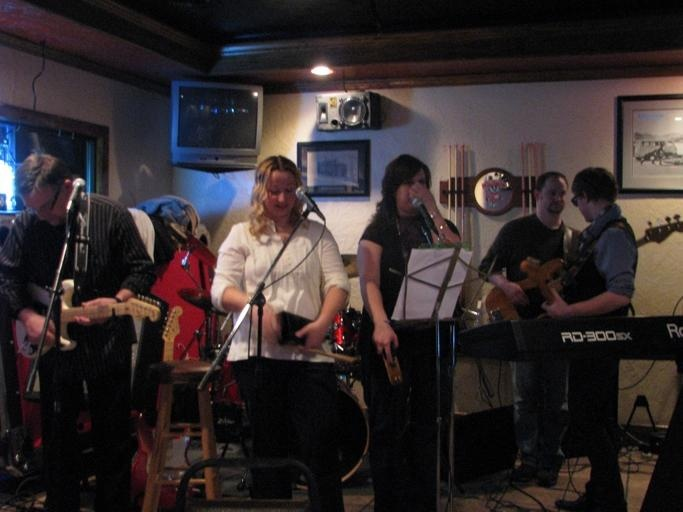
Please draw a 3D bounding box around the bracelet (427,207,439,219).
[{"bbox_3d":[0.479,-0.221,3.160,0.038,0.033,0.090,24,22,-34],"label":"bracelet"}]

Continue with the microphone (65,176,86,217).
[{"bbox_3d":[-1.339,-0.327,3.123,0.066,0.261,0.070,7,-35,-5],"label":"microphone"}]

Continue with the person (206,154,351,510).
[{"bbox_3d":[-0.288,0.376,3.056,0.713,1.802,0.462,1,-1,-13],"label":"person"}]

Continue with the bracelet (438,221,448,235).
[{"bbox_3d":[0.524,-0.143,3.134,0.041,0.056,0.074,-2,-31,12],"label":"bracelet"}]

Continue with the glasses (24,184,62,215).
[{"bbox_3d":[-1.601,-0.288,3.315,0.141,0.191,0.173,-1,-9,5],"label":"glasses"}]

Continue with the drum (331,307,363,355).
[{"bbox_3d":[0.048,0.589,4.860,0.228,0.340,0.088,12,-19,-22],"label":"drum"}]

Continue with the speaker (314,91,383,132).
[{"bbox_3d":[0.064,-1.311,5.589,0.607,0.320,0.244,1,-1,5],"label":"speaker"}]

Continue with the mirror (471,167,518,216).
[{"bbox_3d":[1.380,-0.572,5.440,0.400,0.502,0.053,0,-2,13],"label":"mirror"}]

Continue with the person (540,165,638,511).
[{"bbox_3d":[1.531,0.499,3.789,0.524,2.190,1.022,1,-1,26],"label":"person"}]

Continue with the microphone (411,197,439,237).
[{"bbox_3d":[0.429,-0.194,3.106,0.055,0.064,0.318,-2,44,-25],"label":"microphone"}]

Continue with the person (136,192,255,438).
[{"bbox_3d":[-1.288,0.429,4.982,0.512,1.841,1.045,-10,-14,26],"label":"person"}]

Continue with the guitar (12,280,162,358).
[{"bbox_3d":[-1.446,0.339,3.383,0.579,0.267,0.105,-3,6,1],"label":"guitar"}]
